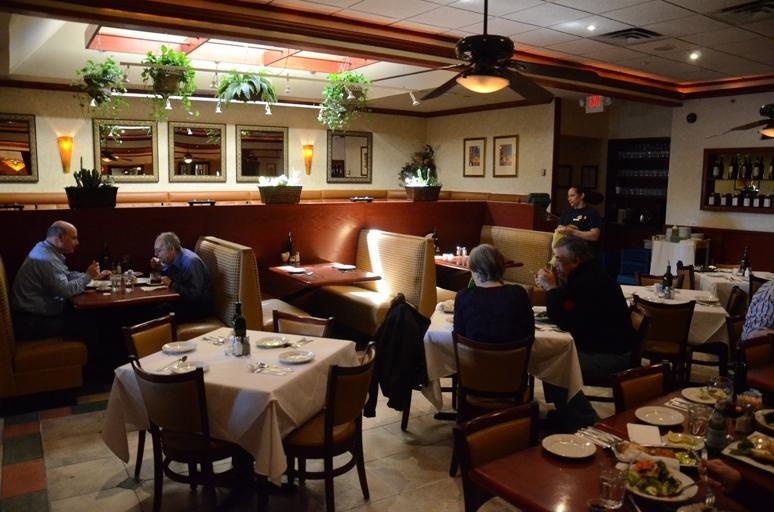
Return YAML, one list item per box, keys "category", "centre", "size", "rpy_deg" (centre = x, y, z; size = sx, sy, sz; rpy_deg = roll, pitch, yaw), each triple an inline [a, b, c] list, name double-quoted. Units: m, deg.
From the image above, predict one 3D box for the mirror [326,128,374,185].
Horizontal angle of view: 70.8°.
- category: "mirror"
  centre: [-1.033, -2.686, 14.407]
  size: [1.578, 1.594, 0.119]
  rpy_deg: [-1, 5, -25]

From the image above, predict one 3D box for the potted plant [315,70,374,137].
- category: "potted plant"
  centre: [-0.654, -2.432, 8.372]
  size: [0.651, 0.878, 0.604]
  rpy_deg: [-3, 8, -16]

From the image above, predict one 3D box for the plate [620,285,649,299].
- category: "plate"
  centre: [2.987, 0.419, 6.647]
  size: [0.361, 0.083, 0.239]
  rpy_deg: [-5, 8, -27]

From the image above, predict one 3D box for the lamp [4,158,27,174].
- category: "lamp"
  centre: [-7.466, -1.813, 10.943]
  size: [0.355, 0.174, 0.251]
  rpy_deg: [1, 6, -38]

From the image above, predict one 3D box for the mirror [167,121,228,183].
- category: "mirror"
  centre: [-4.461, -2.437, 12.620]
  size: [1.565, 1.589, 0.119]
  rpy_deg: [-2, 3, -36]

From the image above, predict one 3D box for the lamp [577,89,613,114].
- category: "lamp"
  centre: [4.031, -3.022, 10.608]
  size: [0.341, 0.547, 0.639]
  rpy_deg: [4, -2, -34]

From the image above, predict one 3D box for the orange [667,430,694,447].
- category: "orange"
  centre: [1.932, 1.208, 3.586]
  size: [0.108, 0.040, 0.105]
  rpy_deg: [-4, 8, -15]

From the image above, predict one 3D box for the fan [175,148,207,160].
- category: "fan"
  centre: [-4.532, -2.339, 12.604]
  size: [0.775, 0.234, 0.036]
  rpy_deg: [-5, 8, -30]

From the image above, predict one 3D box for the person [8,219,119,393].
- category: "person"
  centre: [-3.583, 0.564, 6.073]
  size: [0.977, 1.885, 0.739]
  rpy_deg: [-6, 9, -36]

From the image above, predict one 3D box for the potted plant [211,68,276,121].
- category: "potted plant"
  centre: [-2.006, -2.405, 7.724]
  size: [0.800, 0.479, 0.564]
  rpy_deg: [-2, 7, -7]

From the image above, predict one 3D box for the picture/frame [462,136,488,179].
- category: "picture/frame"
  centre: [2.209, -2.463, 13.767]
  size: [0.188, 0.986, 0.783]
  rpy_deg: [-4, 8, -24]

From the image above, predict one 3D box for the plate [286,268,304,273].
- category: "plate"
  centre: [-1.156, 0.198, 6.983]
  size: [0.203, 0.037, 0.188]
  rpy_deg: [-2, 7, -8]

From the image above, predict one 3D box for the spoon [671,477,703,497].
- category: "spoon"
  centre: [1.787, 1.384, 3.255]
  size: [0.162, 0.027, 0.029]
  rpy_deg: [-27, 42, -5]

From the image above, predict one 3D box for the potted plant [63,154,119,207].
- category: "potted plant"
  centre: [-3.718, -0.805, 6.810]
  size: [0.816, 0.785, 0.471]
  rpy_deg: [-1, 2, -38]

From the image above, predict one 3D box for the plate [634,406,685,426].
- category: "plate"
  centre: [1.924, 1.132, 3.854]
  size: [0.334, 0.069, 0.216]
  rpy_deg: [-1, 7, -3]

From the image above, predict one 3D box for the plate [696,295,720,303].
- category: "plate"
  centre: [3.735, 0.513, 6.383]
  size: [0.235, 0.052, 0.284]
  rpy_deg: [1, 7, 16]

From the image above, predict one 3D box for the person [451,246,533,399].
- category: "person"
  centre: [0.942, 0.660, 4.867]
  size: [0.719, 1.482, 0.475]
  rpy_deg: [1, 8, 14]

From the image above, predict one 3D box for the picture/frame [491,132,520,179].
- category: "picture/frame"
  centre: [2.821, -2.348, 12.899]
  size: [0.046, 0.974, 0.802]
  rpy_deg: [-6, 9, -32]

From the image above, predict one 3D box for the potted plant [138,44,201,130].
- category: "potted plant"
  centre: [-2.868, -2.372, 7.157]
  size: [0.613, 0.920, 0.879]
  rpy_deg: [-4, 8, -21]

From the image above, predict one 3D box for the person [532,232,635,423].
- category: "person"
  centre: [1.920, 0.549, 5.272]
  size: [0.923, 1.447, 0.494]
  rpy_deg: [2, 8, 22]

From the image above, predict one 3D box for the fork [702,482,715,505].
- category: "fork"
  centre: [1.903, 1.408, 3.225]
  size: [0.060, 0.164, 0.068]
  rpy_deg: [1, 27, 29]

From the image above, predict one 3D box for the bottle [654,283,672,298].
- category: "bottle"
  centre: [3.265, 0.425, 6.416]
  size: [0.115, 0.109, 0.148]
  rpy_deg: [-3, 0, -26]

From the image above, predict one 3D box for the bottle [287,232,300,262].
- category: "bottle"
  centre: [-1.328, -0.122, 7.777]
  size: [0.141, 0.423, 0.292]
  rpy_deg: [-2, 7, -11]

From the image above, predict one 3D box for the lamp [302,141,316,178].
- category: "lamp"
  centre: [-1.993, -2.476, 14.024]
  size: [0.315, 0.808, 0.141]
  rpy_deg: [-7, 10, -40]

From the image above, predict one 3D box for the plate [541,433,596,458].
- category: "plate"
  centre: [1.206, 1.253, 3.579]
  size: [0.328, 0.098, 0.230]
  rpy_deg: [-5, 8, -31]
